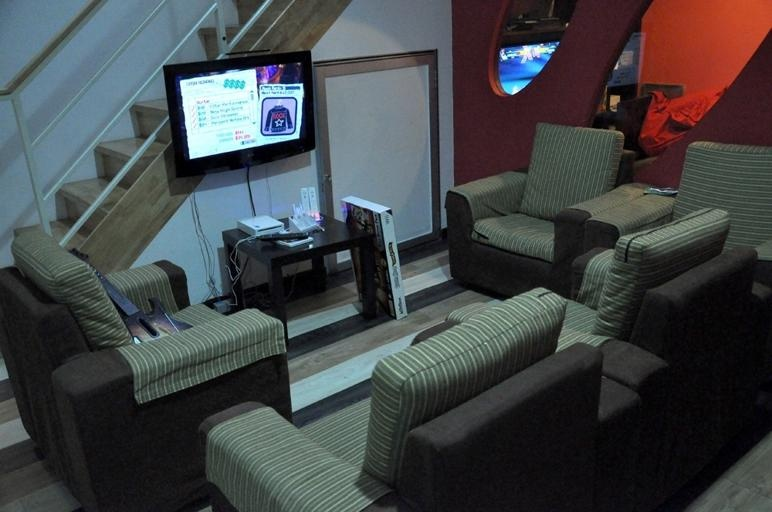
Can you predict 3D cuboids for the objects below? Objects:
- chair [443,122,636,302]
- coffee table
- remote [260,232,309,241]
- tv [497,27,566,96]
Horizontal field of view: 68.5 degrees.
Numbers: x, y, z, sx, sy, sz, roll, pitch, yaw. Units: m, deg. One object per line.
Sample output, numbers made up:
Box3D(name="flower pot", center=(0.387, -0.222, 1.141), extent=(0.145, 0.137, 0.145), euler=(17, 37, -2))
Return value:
Box3D(name="chair", center=(1.254, -0.329, 4.975), extent=(1.442, 1.567, 1.532), euler=(-20, 28, -36))
Box3D(name="coffee table", center=(-0.747, 0.080, 4.630), extent=(1.040, 0.874, 1.036), euler=(-24, 36, -35))
Box3D(name="remote", center=(-0.778, -0.150, 4.326), extent=(0.279, 0.040, 0.134), euler=(-7, 15, -25))
Box3D(name="tv", center=(1.345, -1.806, 5.178), extent=(0.531, 0.779, 0.101), euler=(17, 4, 18))
